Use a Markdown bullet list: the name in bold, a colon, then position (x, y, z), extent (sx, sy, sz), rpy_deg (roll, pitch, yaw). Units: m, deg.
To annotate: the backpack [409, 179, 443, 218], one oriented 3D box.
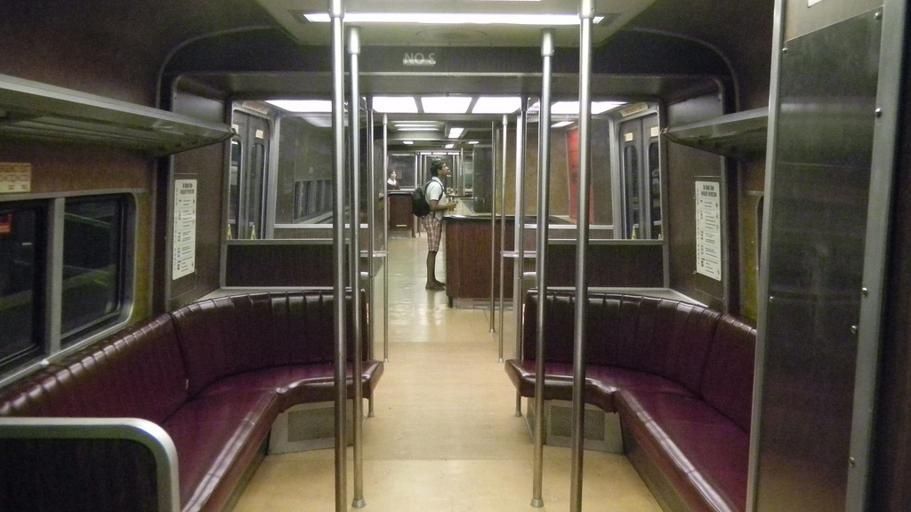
- **backpack**: position (-0.460, -0.996, 10.902), extent (0.707, 0.620, 0.471), rpy_deg (-6, 1, 9)
